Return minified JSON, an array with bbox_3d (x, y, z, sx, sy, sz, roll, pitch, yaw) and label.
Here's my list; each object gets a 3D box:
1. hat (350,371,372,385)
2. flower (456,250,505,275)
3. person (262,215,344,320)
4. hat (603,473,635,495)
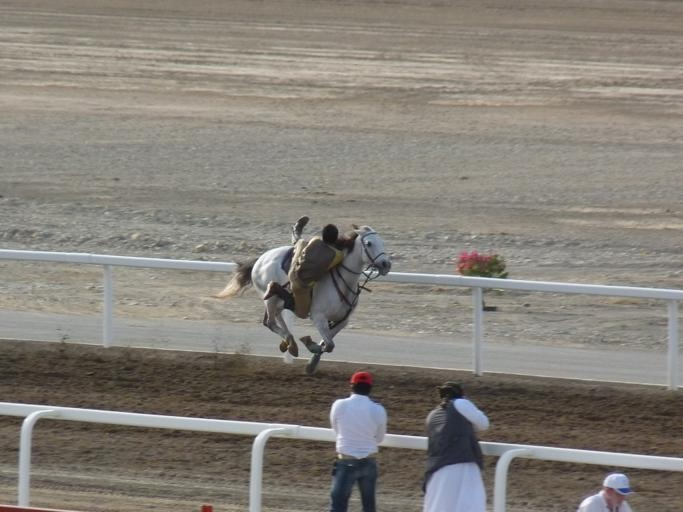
[{"bbox_3d":[0.253,2.261,38.103,0.297,0.139,0.338,4,-2,-11],"label":"hat"},{"bbox_3d":[2.948,0.230,44.755,0.826,0.344,0.622,10,6,-7],"label":"flower"},{"bbox_3d":[-0.775,0.275,40.489,0.701,1.981,1.365,35,5,-44],"label":"person"},{"bbox_3d":[4.884,4.122,37.546,0.563,0.232,0.358,17,14,17],"label":"hat"}]
